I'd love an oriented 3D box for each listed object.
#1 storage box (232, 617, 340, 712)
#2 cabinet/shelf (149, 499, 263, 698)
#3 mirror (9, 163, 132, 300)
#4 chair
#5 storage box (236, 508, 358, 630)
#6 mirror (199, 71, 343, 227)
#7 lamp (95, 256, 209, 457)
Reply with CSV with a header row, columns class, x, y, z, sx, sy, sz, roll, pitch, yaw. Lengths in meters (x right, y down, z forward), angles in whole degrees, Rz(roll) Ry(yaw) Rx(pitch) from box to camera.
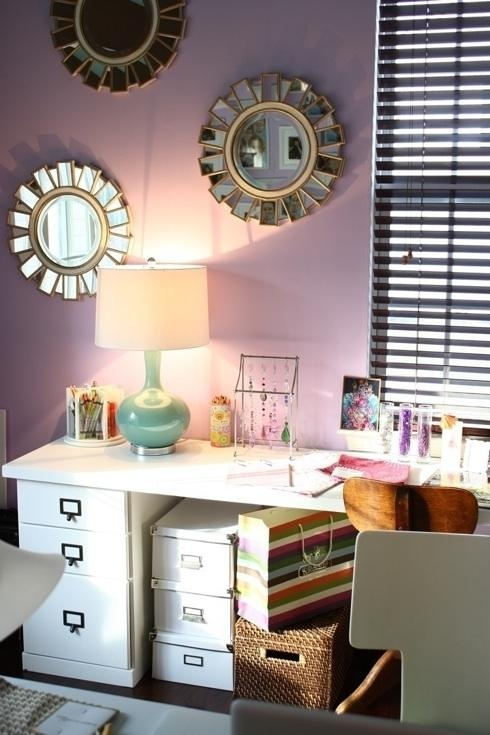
class,x,y,z,sx,sy,sz,roll,pitch,yaw
storage box,0.127,0.900,1.883,0.319,0.250,0.166,0,3,21
cabinet/shelf,-0.088,0.771,2.139,0.372,0.675,0.494,2,5,16
mirror,-0.647,-0.543,2.316,0.567,0.614,0.064,-1,9,12
chair,0.430,0.571,1.566,0.307,0.566,0.410,0,-6,21
storage box,0.174,0.611,1.932,0.366,0.342,0.164,2,3,-39
mirror,0.107,-0.770,2.086,0.544,0.567,0.043,-1,8,11
lamp,-0.316,-0.040,2.055,0.378,0.671,0.235,-1,3,-4
